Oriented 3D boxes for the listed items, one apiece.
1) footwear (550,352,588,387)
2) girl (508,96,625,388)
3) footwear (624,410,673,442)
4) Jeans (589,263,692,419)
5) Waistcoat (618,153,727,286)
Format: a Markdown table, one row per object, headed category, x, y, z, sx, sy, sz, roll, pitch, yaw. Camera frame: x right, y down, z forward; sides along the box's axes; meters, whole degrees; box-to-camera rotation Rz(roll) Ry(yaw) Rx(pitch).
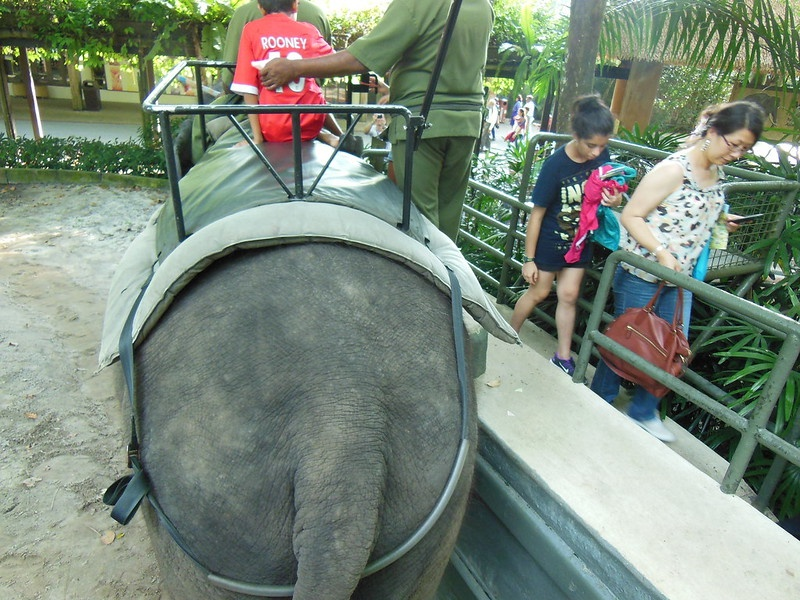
| category | x | y | z | sx | sy | sz | roll | pitch | yaw |
| --- | --- | --- | --- | --- | --- | --- | --- | --- | --- |
| footwear | 1.103 | 0.457 | 3.944 | 0.253 | 0.113 | 0.086 | 35 | 31 | 7 |
| girl | 1.077 | -0.364 | 3.976 | 0.592 | 1.846 | 0.564 | 6 | 28 | 9 |
| footwear | 1.537 | 0.805 | 3.753 | 0.276 | 0.118 | 0.154 | 29 | 7 | 11 |
| Jeans | 1.497 | 0.246 | 3.765 | 0.434 | 1.046 | 0.300 | 8 | 51 | 21 |
| Waistcoat | 1.677 | -0.471 | 3.729 | 0.453 | 0.869 | 0.624 | 5 | -17 | 32 |
